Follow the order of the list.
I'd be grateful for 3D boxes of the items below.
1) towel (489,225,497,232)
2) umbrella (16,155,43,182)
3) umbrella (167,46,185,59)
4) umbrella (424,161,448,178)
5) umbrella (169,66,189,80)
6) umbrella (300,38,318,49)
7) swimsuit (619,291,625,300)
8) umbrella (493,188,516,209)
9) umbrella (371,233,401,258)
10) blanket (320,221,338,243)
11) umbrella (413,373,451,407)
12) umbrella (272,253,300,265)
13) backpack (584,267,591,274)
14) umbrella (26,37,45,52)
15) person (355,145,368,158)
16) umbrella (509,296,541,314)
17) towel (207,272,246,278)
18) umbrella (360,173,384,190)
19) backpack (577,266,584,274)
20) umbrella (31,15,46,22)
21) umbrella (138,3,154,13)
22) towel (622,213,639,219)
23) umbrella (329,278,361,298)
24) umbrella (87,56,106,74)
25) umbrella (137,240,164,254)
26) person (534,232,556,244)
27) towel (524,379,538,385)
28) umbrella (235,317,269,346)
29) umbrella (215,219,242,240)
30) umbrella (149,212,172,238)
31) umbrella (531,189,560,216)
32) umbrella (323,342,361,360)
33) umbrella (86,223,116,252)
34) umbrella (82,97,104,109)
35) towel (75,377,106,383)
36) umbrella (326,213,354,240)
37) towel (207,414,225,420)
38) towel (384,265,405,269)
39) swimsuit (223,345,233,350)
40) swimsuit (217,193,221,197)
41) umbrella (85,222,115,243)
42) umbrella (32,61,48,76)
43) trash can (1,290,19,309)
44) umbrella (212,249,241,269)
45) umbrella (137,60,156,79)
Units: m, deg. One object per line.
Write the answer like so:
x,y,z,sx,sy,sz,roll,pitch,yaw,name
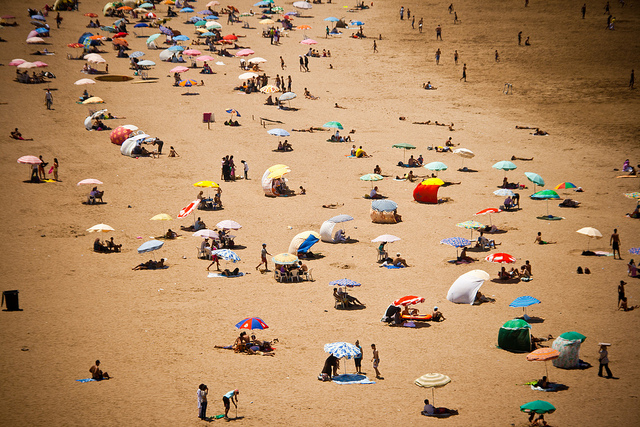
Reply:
14.633,1.254,113.807,0.377,0.504,0.525,23,40,17,towel
-25.058,-3.877,118.853,2.526,1.883,2.196,2,11,-3,umbrella
-14.654,-16.973,141.292,1.373,0.871,1.039,12,37,5,umbrella
10.375,-4.042,120.233,1.844,1.063,1.263,15,37,9,umbrella
-14.013,-14.614,137.805,1.557,1.492,2.770,6,35,-4,umbrella
-1.015,-18.585,147.347,1.660,1.217,2.272,5,35,-4,umbrella
23.586,6.381,106.030,0.673,0.422,0.692,3,55,6,swimsuit
15.907,-1.674,116.398,1.686,1.371,1.870,12,36,5,umbrella
5.555,2.212,111.844,2.118,2.182,1.856,10,38,1,umbrella
1.280,1.535,113.642,1.715,1.730,1.620,9,-1,-30,blanket
8.642,13.085,101.698,2.691,2.090,2.353,-5,14,5,umbrella
-2.661,3.734,109.336,1.802,0.848,1.107,11,37,4,umbrella
21.571,4.594,109.172,0.507,0.313,0.508,13,36,7,backpack
-28.801,-17.538,138.910,1.695,0.901,1.328,26,40,23,umbrella
3.969,-5.665,125.155,1.483,0.859,0.790,5,30,14,person
16.016,7.081,105.919,2.334,1.621,1.364,1,39,-10,umbrella
-7.320,4.941,109.835,3.002,0.455,0.385,2,-1,11,towel
4.758,-2.803,120.100,1.797,1.398,1.551,0,7,-1,umbrella
20.957,4.533,109.127,0.490,0.418,0.565,-4,38,-16,backpack
-29.458,-20.797,144.220,1.300,0.602,1.447,-2,36,-13,umbrella
-19.324,-23.483,154.284,1.555,1.014,2.542,2,35,-9,umbrella
26.438,0.216,115.091,1.256,0.295,0.532,18,37,15,towel
2.080,5.792,107.683,2.281,1.424,1.488,12,37,5,umbrella
-22.188,-14.939,136.758,2.459,1.581,2.200,3,4,13,umbrella
-13.628,2.823,110.977,1.984,1.750,1.517,2,38,-9,umbrella
18.484,2.027,112.063,0.927,1.010,0.980,-24,48,-35,person
15.981,12.681,102.256,0.864,0.403,0.366,9,38,2,towel
-5.030,8.579,104.754,2.244,1.359,1.272,4,38,-5,umbrella
-7.385,1.390,112.962,2.014,1.341,1.762,1,4,3,umbrella
-13.083,0.417,114.243,1.854,2.046,3.120,2,36,-9,umbrella
19.472,-0.894,116.838,2.905,1.380,2.451,1,-4,3,umbrella
1.761,10.716,102.885,2.595,1.899,1.323,5,39,-5,umbrella
-17.876,2.044,112.434,2.842,2.277,2.379,1,-1,21,umbrella
-21.317,-10.553,129.406,1.721,1.472,1.686,-3,38,-15,umbrella
-16.965,12.492,102.211,1.731,0.080,0.395,2,24,-6,towel
1.850,1.161,114.067,2.485,2.021,2.153,-4,1,-4,umbrella
-7.436,15.038,100.717,0.713,0.157,0.389,-3,42,-14,towel
6.311,4.367,110.664,1.516,0.351,0.358,-1,56,-3,towel
-6.830,10.242,104.236,0.577,0.181,0.273,4,36,-5,swimsuit
-8.525,-1.570,117.305,0.193,0.329,0.292,4,38,-7,swimsuit
-17.629,1.469,111.812,2.092,1.128,1.816,0,-1,-8,umbrella
-27.265,-14.264,133.895,1.538,1.349,1.443,-4,19,-15,umbrella
-24.048,6.694,105.950,1.590,1.805,1.394,2,5,-6,trash can
-7.241,3.389,109.232,2.191,0.574,1.080,23,38,21,umbrella
-17.373,-14.573,137.738,2.286,1.828,2.192,6,13,30,umbrella
